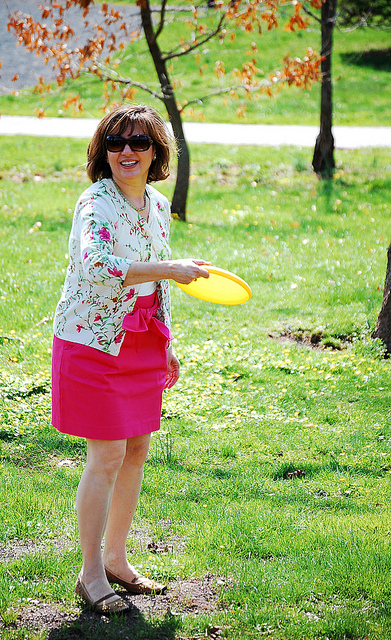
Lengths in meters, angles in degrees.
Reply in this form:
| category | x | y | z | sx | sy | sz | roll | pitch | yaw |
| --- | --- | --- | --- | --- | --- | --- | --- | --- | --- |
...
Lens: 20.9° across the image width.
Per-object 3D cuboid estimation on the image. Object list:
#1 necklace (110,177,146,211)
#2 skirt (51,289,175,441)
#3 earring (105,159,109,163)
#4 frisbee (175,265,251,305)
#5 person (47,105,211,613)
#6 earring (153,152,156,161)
| category | x | y | z | sx | sy | sz | roll | pitch | yaw |
| --- | --- | --- | --- | --- | --- | --- | --- | --- | --- |
| necklace | -0.338 | -0.690 | 5.682 | 0.142 | 0.162 | 0.248 | 10 | 11 | 39 |
| skirt | -0.417 | 0.227 | 5.607 | 0.630 | 0.774 | 0.268 | -2 | 11 | -28 |
| earring | -0.483 | -0.874 | 5.676 | 0.016 | 0.014 | 0.074 | 1 | 8 | -10 |
| frisbee | 0.050 | -0.242 | 6.006 | 0.387 | 0.068 | 0.357 | 6 | -21 | 0 |
| person | -0.422 | 0.192 | 5.694 | 0.696 | 2.719 | 0.628 | 1 | 10 | -8 |
| earring | -0.237 | -0.927 | 5.867 | 0.014 | 0.041 | 0.036 | 2 | 9 | -7 |
